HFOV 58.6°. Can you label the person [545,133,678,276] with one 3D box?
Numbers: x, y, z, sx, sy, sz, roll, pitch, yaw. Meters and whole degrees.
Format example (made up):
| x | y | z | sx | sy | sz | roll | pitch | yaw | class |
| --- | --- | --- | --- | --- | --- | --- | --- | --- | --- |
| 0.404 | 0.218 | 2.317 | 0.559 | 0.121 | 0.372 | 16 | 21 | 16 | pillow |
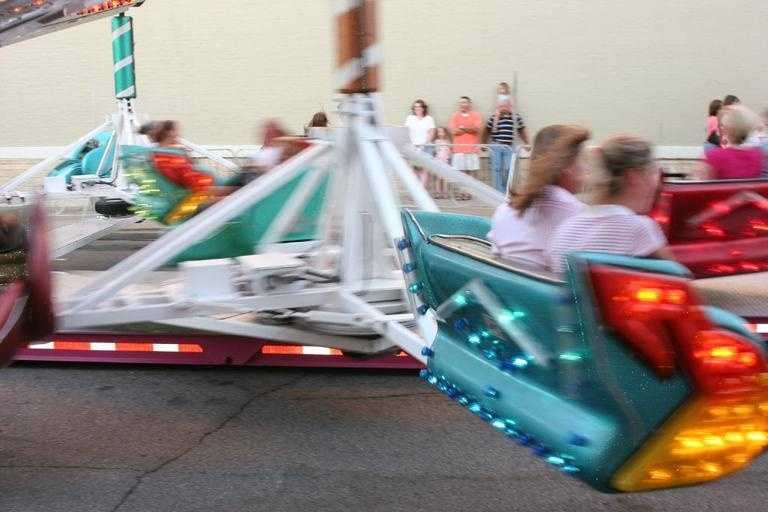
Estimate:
| x | y | z | sx | sy | sz | roll | pitch | yaw | class |
| --- | --- | --- | --- | --- | --- | --- | --- | --- | --- |
| 1.088 | -0.249 | 3.274 | 0.560 | 0.636 | 0.605 | 3 | 18 | 11 | person |
